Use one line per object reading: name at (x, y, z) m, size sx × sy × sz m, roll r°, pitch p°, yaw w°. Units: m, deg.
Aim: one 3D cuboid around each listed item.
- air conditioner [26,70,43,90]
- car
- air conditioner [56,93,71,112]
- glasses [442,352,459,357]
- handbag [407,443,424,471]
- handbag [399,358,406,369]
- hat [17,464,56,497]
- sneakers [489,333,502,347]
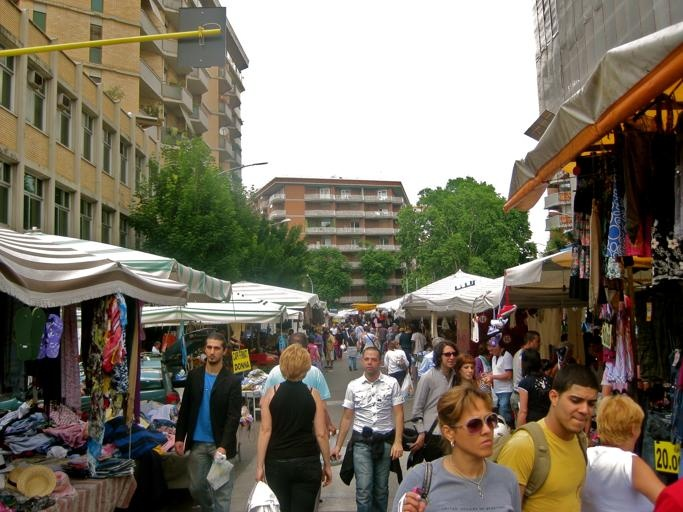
air conditioner at (-9.388, -5.347, 22.969) m, size 0.364 × 0.547 × 0.727 m, roll -1°, pitch -3°, yaw 3°
car at (-4.430, 2.483, 16.421) m, size 2.919 × 1.751 × 1.821 m, roll 3°, pitch -11°, yaw -3°
air conditioner at (-9.343, -5.162, 25.359) m, size 0.369 × 0.565 × 0.745 m, roll -1°, pitch -6°, yaw 1°
glasses at (1.383, 1.229, 9.447) m, size 0.227 × 0.050 × 0.108 m, roll 7°, pitch -14°, yaw -37°
handbag at (0.910, 2.467, 9.292) m, size 0.202 × 0.256 × 0.342 m, roll -2°, pitch -11°, yaw 4°
handbag at (1.379, 2.446, 17.104) m, size 0.122 × 0.165 × 0.171 m, roll -6°, pitch 8°, yaw 2°
hat at (-3.432, 2.517, 8.479) m, size 0.426 × 0.316 × 0.301 m, roll 2°, pitch -11°, yaw -18°
sneakers at (2.735, 1.494, 13.435) m, size 0.199 × 0.166 × 0.344 m, roll 3°, pitch -17°, yaw 5°
